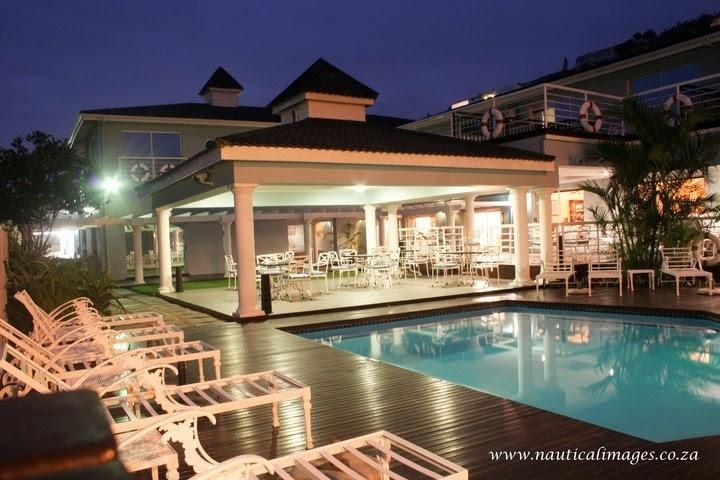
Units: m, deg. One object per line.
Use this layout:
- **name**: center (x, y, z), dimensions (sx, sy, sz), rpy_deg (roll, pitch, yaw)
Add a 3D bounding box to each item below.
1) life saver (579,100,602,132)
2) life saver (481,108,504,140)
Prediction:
- **life saver**: center (7.490, -3.993, 16.486), dimensions (0.721, 1.093, 0.577), rpy_deg (-2, -1, -15)
- **life saver**: center (4.668, -4.116, 17.898), dimensions (0.504, 1.076, 0.970), rpy_deg (-2, -1, -16)
